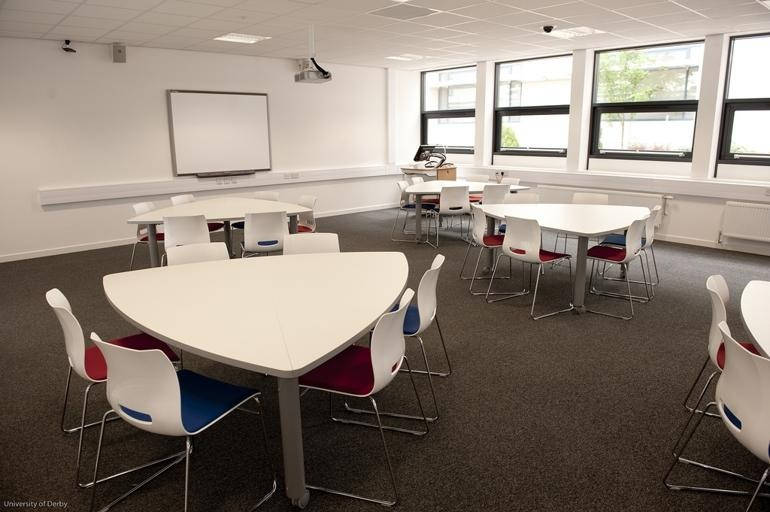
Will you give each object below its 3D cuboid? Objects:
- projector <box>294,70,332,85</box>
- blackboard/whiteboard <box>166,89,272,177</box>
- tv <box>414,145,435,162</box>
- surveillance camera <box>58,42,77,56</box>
[{"bbox_3d":[-0.913,-2.508,7.256,0.566,0.149,0.562,-5,13,-30],"label":"projector"},{"bbox_3d":[-3.116,-2.363,9.969,2.046,1.553,0.195,2,13,9],"label":"blackboard/whiteboard"},{"bbox_3d":[0.904,-2.370,11.943,0.439,0.343,0.320,5,16,21],"label":"tv"},{"bbox_3d":[-5.072,-3.340,8.249,0.206,0.175,0.248,-8,17,-26],"label":"surveillance camera"}]
